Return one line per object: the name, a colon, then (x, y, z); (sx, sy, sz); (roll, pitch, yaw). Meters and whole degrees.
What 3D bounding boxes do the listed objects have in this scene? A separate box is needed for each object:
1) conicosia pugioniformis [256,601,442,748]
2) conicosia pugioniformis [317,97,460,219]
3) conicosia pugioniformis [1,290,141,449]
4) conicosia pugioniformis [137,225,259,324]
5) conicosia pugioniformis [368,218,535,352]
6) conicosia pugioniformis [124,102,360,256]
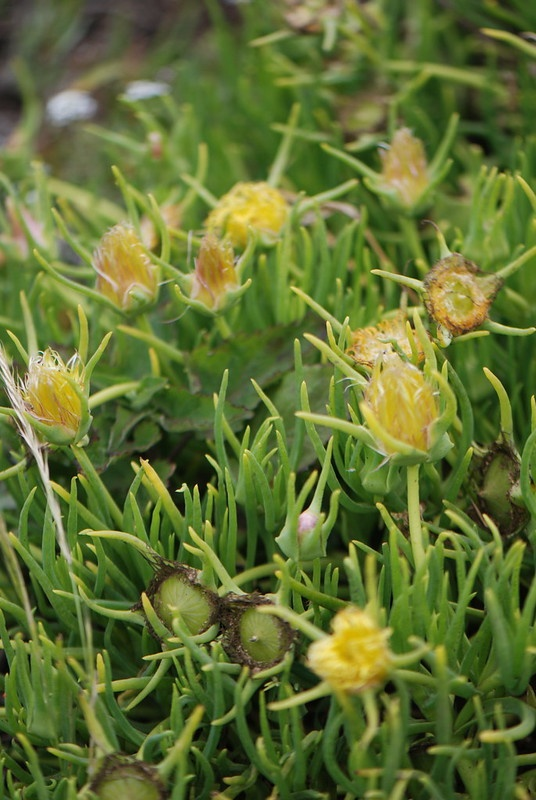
conicosia pugioniformis: (0.026, 0.089, 0.297); (0.056, 0.029, 0.035); (-5, 56, -6)
conicosia pugioniformis: (0.066, -0.142, 0.523); (0.076, 0.040, 0.073); (2, 33, 38)
conicosia pugioniformis: (-0.098, -0.012, 0.431); (0.070, 0.047, 0.073); (-22, 58, -29)
conicosia pugioniformis: (-0.029, -0.066, 0.433); (0.045, 0.033, 0.049); (-4, 21, -1)
conicosia pugioniformis: (0.087, -0.054, 0.424); (0.071, 0.025, 0.057); (26, 73, 5)
conicosia pugioniformis: (-0.007, -0.123, 0.513); (0.101, 0.044, 0.102); (15, 58, 13)
